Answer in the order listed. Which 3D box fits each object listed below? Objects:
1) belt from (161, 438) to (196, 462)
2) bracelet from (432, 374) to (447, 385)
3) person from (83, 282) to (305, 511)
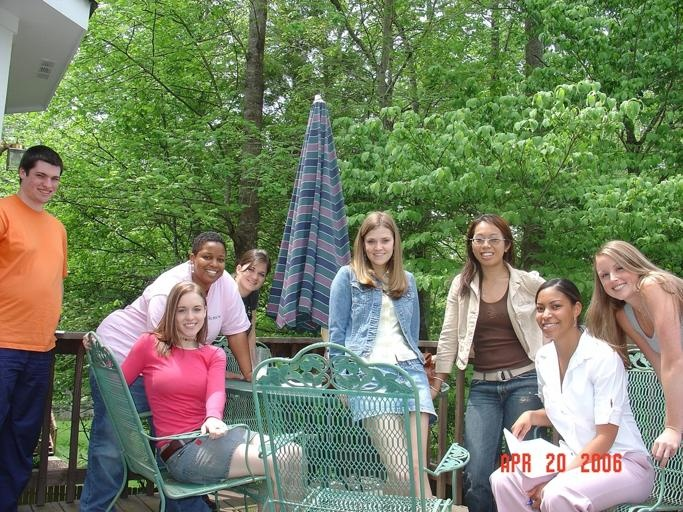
[{"bbox_3d":[-0.838,0.951,2.964,0.167,0.058,0.122,-23,3,-34],"label":"belt"},{"bbox_3d":[0.588,0.736,3.578,0.102,0.063,0.132,-2,-5,22],"label":"bracelet"},{"bbox_3d":[-0.709,0.629,2.991,1.145,1.000,0.450,-1,-3,27],"label":"person"}]
